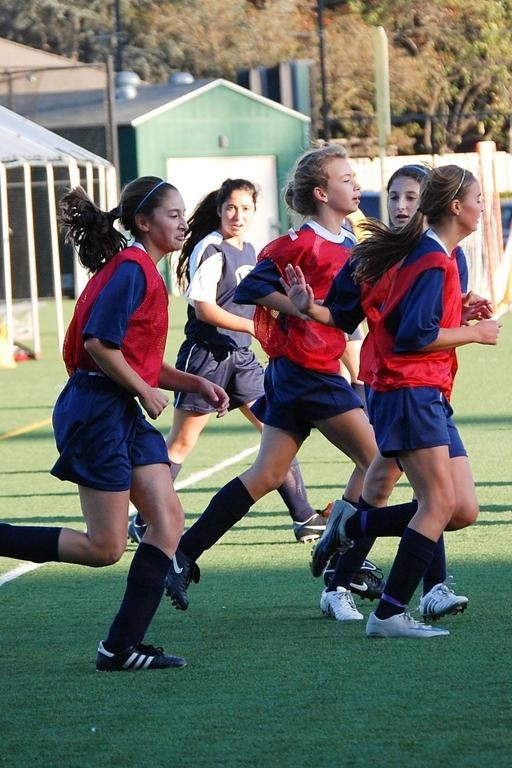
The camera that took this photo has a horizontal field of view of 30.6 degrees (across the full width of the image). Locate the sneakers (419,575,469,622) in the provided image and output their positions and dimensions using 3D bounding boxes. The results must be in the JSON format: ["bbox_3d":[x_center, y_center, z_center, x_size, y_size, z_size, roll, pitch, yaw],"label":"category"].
[{"bbox_3d":[0.699,0.757,3.329,0.097,0.134,0.268,7,-27,-36],"label":"sneakers"}]

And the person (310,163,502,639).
[{"bbox_3d":[0.561,0.070,3.168,0.500,1.579,0.602,-3,1,-7],"label":"person"}]

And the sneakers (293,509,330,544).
[{"bbox_3d":[0.277,0.742,4.905,0.254,0.106,0.093,-17,10,-43],"label":"sneakers"}]

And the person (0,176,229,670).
[{"bbox_3d":[-0.443,0.099,3.026,0.490,1.223,0.614,-2,2,29],"label":"person"}]

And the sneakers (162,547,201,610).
[{"bbox_3d":[-0.285,0.736,3.586,0.162,0.280,0.102,-13,-24,7],"label":"sneakers"}]

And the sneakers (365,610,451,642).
[{"bbox_3d":[0.497,0.814,3.165,0.295,0.090,0.095,1,-18,-2],"label":"sneakers"}]

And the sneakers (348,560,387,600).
[{"bbox_3d":[0.413,0.798,3.861,0.147,0.081,0.263,-10,10,-22],"label":"sneakers"}]

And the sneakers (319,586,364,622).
[{"bbox_3d":[0.311,0.828,3.543,0.081,0.086,0.200,2,-2,-39],"label":"sneakers"}]

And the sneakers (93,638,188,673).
[{"bbox_3d":[-0.363,0.845,2.937,0.306,0.090,0.093,-1,-6,-8],"label":"sneakers"}]
